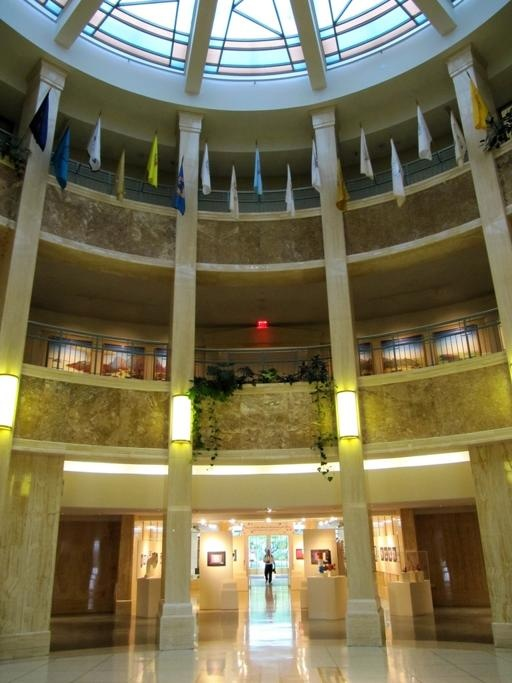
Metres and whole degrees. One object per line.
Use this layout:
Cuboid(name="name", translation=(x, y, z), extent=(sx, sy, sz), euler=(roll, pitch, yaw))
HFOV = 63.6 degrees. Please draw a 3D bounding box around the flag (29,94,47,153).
Cuboid(name="flag", translation=(-4.426, -4.517, 8.550), extent=(0.328, 1.341, 0.562), euler=(7, -20, -29))
